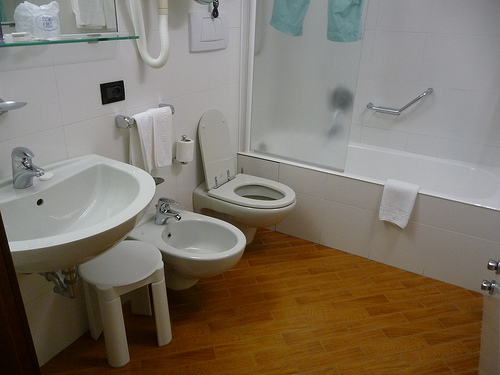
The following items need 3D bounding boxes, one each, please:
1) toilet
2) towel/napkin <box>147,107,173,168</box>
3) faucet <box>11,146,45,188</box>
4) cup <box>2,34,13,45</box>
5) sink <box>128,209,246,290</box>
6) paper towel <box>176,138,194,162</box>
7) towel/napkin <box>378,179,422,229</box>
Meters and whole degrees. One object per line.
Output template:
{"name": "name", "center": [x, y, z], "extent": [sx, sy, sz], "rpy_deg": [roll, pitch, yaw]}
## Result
{"name": "toilet", "center": [-0.024, -0.021, 2.592], "extent": [0.697, 0.982, 0.438], "rpy_deg": [15, 29, 27]}
{"name": "towel/napkin", "center": [-0.507, -0.291, 2.079], "extent": [0.067, 0.289, 0.206], "rpy_deg": [9, 14, 24]}
{"name": "faucet", "center": [-0.908, -0.079, 1.461], "extent": [0.147, 0.162, 0.077], "rpy_deg": [22, 31, 18]}
{"name": "cup", "center": [-0.912, -0.562, 1.353], "extent": [0.020, 0.028, 0.039], "rpy_deg": [6, 26, 9]}
{"name": "sink", "center": [-0.353, 0.425, 2.160], "extent": [0.555, 0.382, 0.398], "rpy_deg": [17, 39, 18]}
{"name": "paper towel", "center": [-0.425, -0.231, 2.344], "extent": [0.116, 0.157, 0.145], "rpy_deg": [3, 2, -32]}
{"name": "towel/napkin", "center": [1.000, 0.123, 2.446], "extent": [0.223, 0.307, 0.132], "rpy_deg": [14, 28, 25]}
